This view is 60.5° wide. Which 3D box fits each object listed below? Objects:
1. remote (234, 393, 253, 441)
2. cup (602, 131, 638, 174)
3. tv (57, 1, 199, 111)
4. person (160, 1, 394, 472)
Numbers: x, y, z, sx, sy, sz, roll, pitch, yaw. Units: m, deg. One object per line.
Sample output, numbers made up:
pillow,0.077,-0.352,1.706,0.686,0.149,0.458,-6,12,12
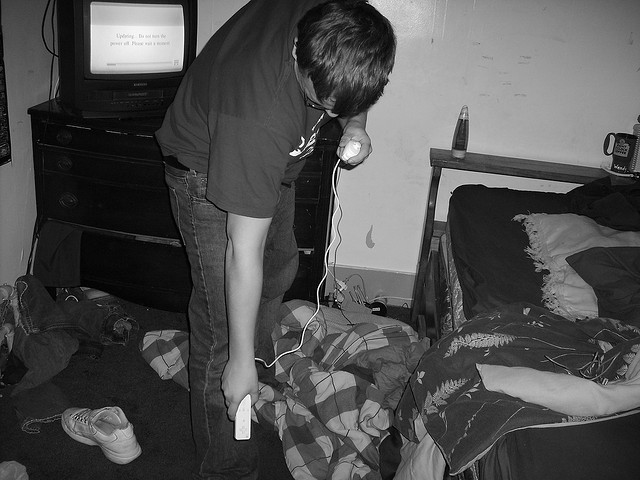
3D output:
remote,-0.245,0.566,1.746,0.066,0.152,0.034,0,6,-6
cup,1.517,-0.438,2.765,0.127,0.231,0.219,-10,15,-33
tv,-0.873,-0.830,2.438,0.551,0.531,0.318,-7,40,-29
person,-0.237,0.124,1.838,0.565,1.769,0.719,1,13,-22
